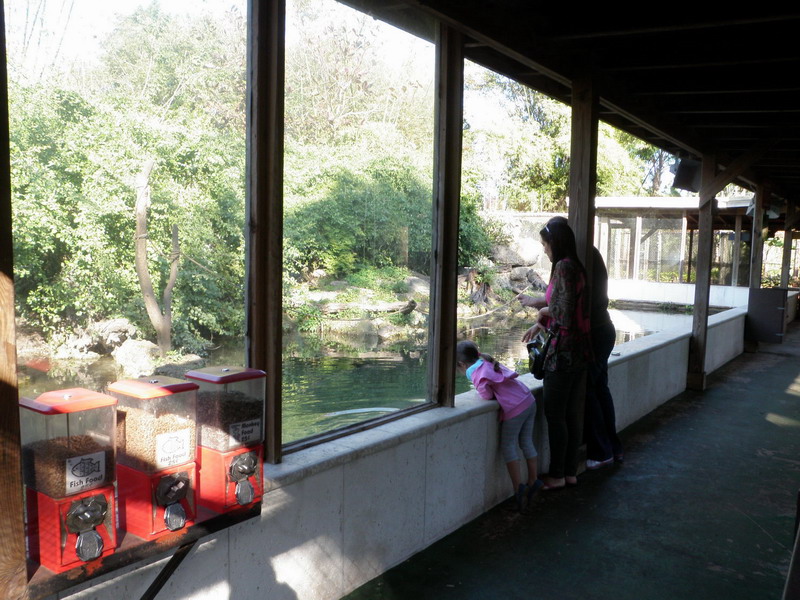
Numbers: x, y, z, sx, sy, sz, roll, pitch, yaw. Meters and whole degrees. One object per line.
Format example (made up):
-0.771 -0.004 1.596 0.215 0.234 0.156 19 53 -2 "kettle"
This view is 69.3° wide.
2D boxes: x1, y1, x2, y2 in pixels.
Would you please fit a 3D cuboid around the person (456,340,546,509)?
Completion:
0.716 0.901 4.203 0.621 1.183 0.240 1 4 4 "person"

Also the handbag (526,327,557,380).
1.070 0.425 4.420 0.125 0.360 0.241 12 16 21 "handbag"
